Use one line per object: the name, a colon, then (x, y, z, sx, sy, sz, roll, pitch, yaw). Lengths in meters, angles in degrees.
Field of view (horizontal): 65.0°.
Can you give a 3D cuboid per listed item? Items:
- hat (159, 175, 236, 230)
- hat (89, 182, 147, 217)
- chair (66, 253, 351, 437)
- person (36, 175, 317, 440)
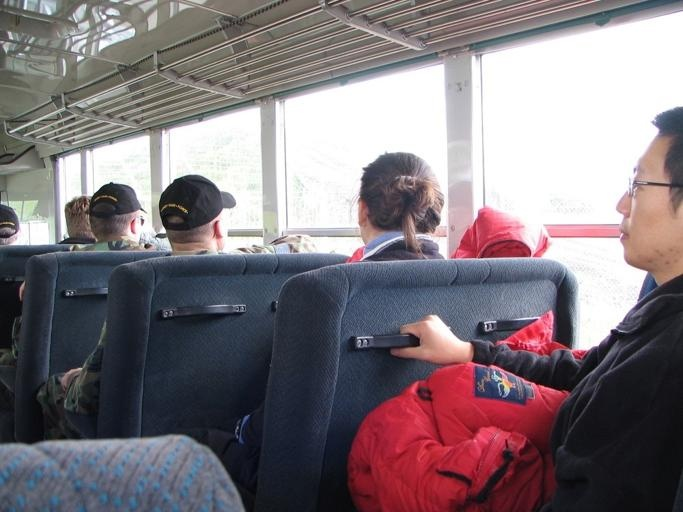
hat: (-0.604, -0.221, 2.293, 0.187, 0.152, 0.296, 10, 27, 29)
hat: (-1.239, -0.309, 2.977, 0.173, 0.137, 0.260, 1, 7, 23)
chair: (-0.462, 0.250, 2.132, 0.642, 0.864, 0.734, 1, 7, -29)
person: (-0.604, 0.230, 2.015, 0.702, 0.770, 0.690, 26, 27, 28)
